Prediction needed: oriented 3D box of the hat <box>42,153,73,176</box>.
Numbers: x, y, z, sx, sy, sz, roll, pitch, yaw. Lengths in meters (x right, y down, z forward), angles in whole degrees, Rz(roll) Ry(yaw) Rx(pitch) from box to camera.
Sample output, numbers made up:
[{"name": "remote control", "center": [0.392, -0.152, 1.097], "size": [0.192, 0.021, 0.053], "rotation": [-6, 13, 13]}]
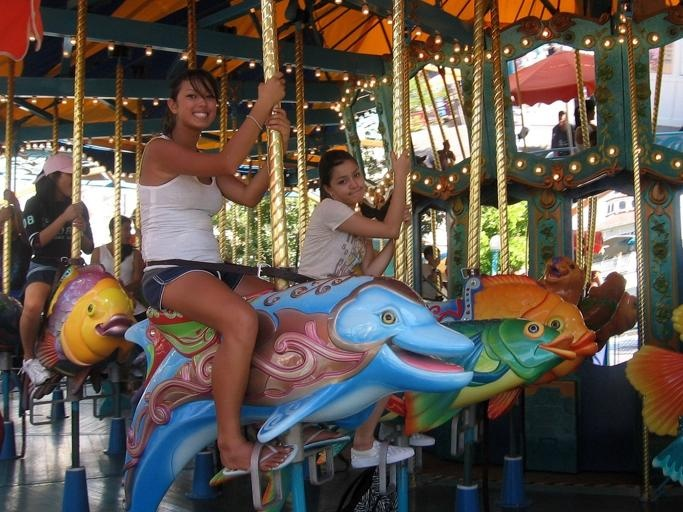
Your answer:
[{"name": "hat", "center": [-2.351, -0.777, 6.315], "size": [0.360, 0.190, 0.221], "rotation": [-8, 13, -17]}]

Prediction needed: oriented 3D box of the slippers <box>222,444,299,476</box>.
[{"name": "slippers", "center": [-0.367, 0.874, 3.132], "size": [0.356, 0.164, 0.130], "rotation": [-3, -4, 31]}]

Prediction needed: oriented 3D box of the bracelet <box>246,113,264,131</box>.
[{"name": "bracelet", "center": [-0.381, -0.606, 3.348], "size": [0.064, 0.028, 0.072], "rotation": [38, 4, 43]}]

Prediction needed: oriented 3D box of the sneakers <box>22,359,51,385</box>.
[{"name": "sneakers", "center": [-2.281, 0.859, 5.552], "size": [0.135, 0.132, 0.298], "rotation": [14, 6, -40]}]

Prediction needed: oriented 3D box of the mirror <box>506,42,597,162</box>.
[{"name": "mirror", "center": [1.798, -1.306, 6.509], "size": [0.785, 0.847, 0.885], "rotation": [-2, -3, 18]}]

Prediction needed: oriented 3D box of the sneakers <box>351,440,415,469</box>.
[{"name": "sneakers", "center": [0.187, 0.949, 3.519], "size": [0.330, 0.125, 0.124], "rotation": [-6, -9, -1]}]

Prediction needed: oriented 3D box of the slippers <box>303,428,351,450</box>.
[{"name": "slippers", "center": [-0.067, 0.807, 3.286], "size": [0.220, 0.077, 0.077], "rotation": [-1, 0, -23]}]
